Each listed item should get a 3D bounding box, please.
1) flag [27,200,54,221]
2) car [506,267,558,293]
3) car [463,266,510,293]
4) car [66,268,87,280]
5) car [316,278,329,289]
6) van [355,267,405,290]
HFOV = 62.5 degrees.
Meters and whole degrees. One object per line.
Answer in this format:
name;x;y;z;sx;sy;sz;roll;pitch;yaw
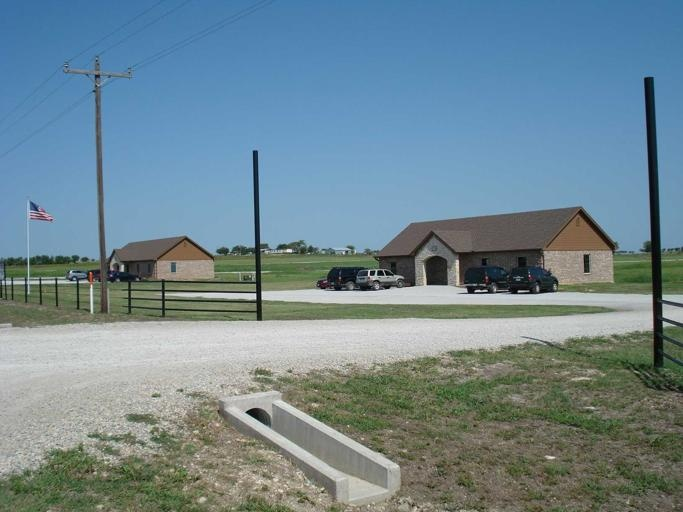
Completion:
flag;-21.220;-3.159;39.925;1.183;1.290;5.999;-2;9;-30
car;13.496;1.718;39.761;2.009;1.972;2.820;12;12;42
car;11.082;1.633;42.083;1.812;1.159;3.309;1;4;44
car;-37.104;2.559;79.466;3.604;1.464;2.221;-3;-1;36
car;-1.733;2.712;55.109;1.363;0.829;2.020;0;-1;2
van;3.518;2.071;51.995;4.033;1.326;1.895;-3;4;-30
